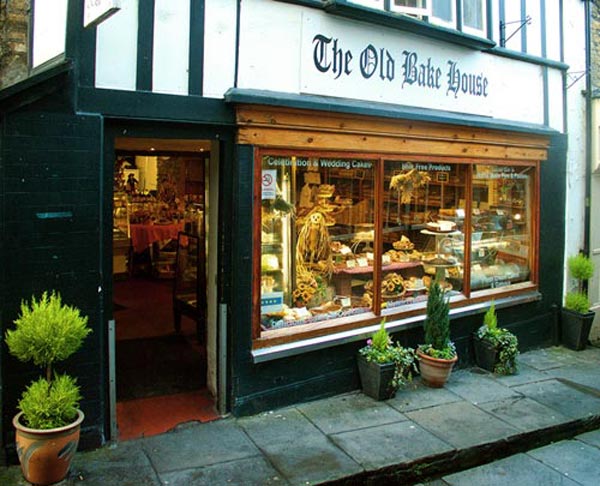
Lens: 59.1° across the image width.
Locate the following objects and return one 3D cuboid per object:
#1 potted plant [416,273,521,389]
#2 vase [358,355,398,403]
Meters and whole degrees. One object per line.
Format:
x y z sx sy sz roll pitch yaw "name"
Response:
2.398 1.322 7.717 1.430 1.386 0.684 -3 3 -33 "potted plant"
0.950 1.678 6.829 0.491 0.478 0.552 -4 9 -29 "vase"
